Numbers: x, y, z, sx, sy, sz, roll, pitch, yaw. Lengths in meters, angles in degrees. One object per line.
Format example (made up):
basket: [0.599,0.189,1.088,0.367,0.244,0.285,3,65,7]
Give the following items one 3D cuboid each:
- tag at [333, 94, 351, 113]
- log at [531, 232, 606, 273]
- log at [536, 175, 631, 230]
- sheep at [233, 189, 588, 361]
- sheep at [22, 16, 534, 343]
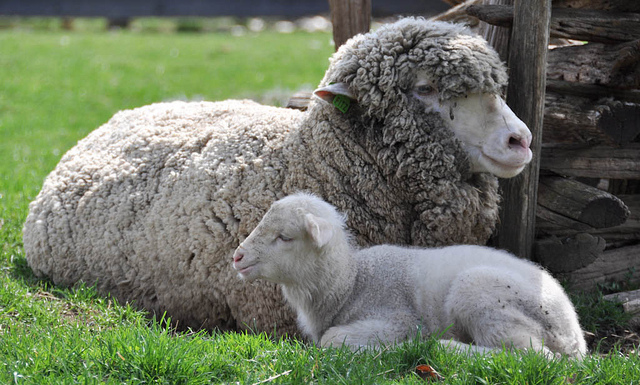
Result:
tag: [0.217,-0.915,7.372,0.181,0.178,0.085,4,15,1]
log: [2.700,0.656,7.900,0.715,0.418,0.185,-7,2,4]
log: [2.785,0.131,7.760,0.892,0.532,0.303,15,-13,33]
sheep: [0.863,0.805,7.297,3.638,1.764,1.428,0,-8,12]
sheep: [-0.214,-0.146,8.855,5.723,3.496,2.822,2,4,20]
